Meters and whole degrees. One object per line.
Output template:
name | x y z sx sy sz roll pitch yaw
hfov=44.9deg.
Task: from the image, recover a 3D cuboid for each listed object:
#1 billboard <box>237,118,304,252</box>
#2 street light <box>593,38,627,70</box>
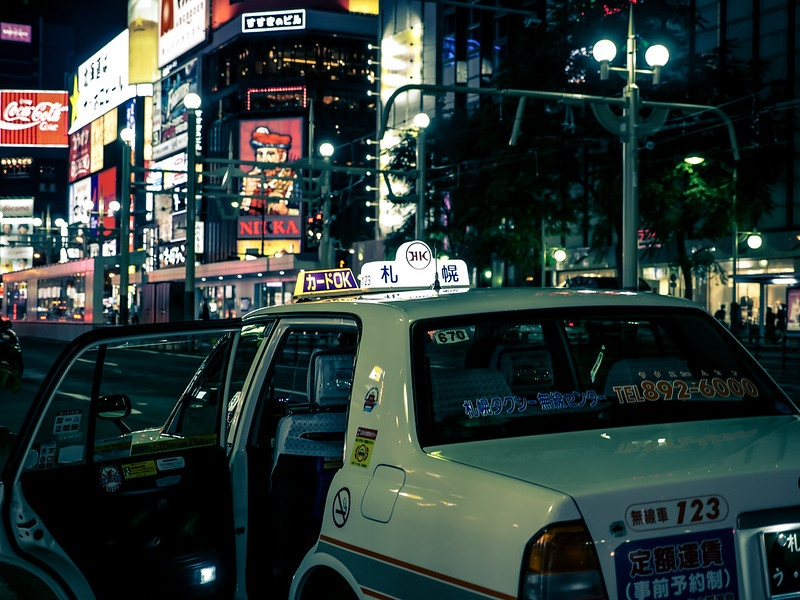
billboard | -11.566 -10.341 84.508 5.751 13.556 0.315 -1 -24 -5
street light | 3.894 -4.775 18.545 0.359 0.468 1.120 0 14 15
